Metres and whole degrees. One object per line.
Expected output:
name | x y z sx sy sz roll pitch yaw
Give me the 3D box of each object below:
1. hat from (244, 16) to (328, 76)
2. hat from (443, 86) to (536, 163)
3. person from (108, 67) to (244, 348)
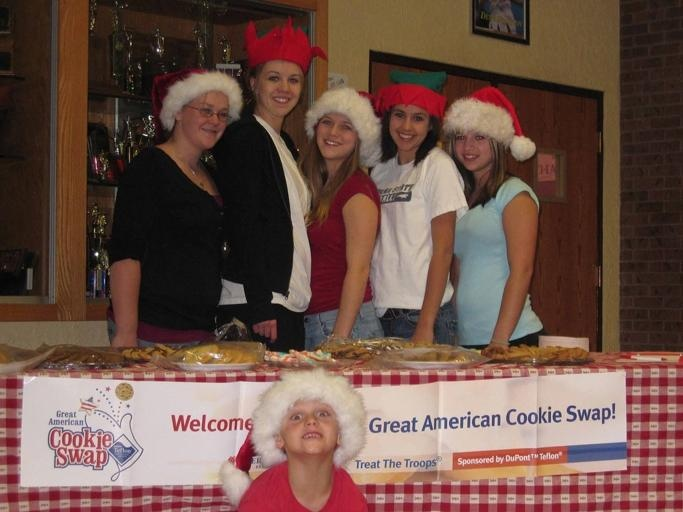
hat | -0.242 -0.828 3.422 0.248 0.181 0.231 8 0 -5
hat | 0.631 -0.521 3.516 0.304 0.309 0.261 3 -1 0
person | -0.589 -0.188 3.084 0.518 0.925 0.341 2 1 -41
